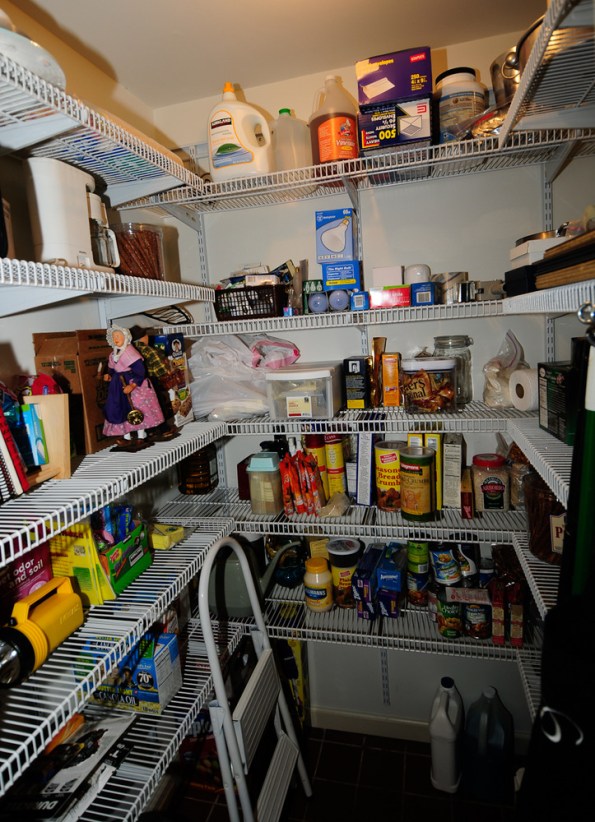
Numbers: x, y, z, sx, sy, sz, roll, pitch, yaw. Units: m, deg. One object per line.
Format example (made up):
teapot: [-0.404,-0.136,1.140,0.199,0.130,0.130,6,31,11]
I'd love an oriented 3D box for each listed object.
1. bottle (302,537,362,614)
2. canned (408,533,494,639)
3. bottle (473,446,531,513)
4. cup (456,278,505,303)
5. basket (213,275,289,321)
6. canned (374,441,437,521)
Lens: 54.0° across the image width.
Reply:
bottle: [0.101,0.491,1.752,0.131,0.233,0.241,0,6,6]
canned: [0.432,0.498,1.590,0.185,0.268,0.064,3,28,19]
bottle: [0.536,0.190,1.549,0.181,0.187,0.113,-1,2,34]
cup: [0.461,-0.300,1.468,0.089,0.043,0.067,1,12,18]
basket: [-0.126,-0.301,1.607,0.183,0.086,0.122,0,14,22]
canned: [0.299,0.191,1.575,0.101,0.175,0.175,-10,14,-28]
